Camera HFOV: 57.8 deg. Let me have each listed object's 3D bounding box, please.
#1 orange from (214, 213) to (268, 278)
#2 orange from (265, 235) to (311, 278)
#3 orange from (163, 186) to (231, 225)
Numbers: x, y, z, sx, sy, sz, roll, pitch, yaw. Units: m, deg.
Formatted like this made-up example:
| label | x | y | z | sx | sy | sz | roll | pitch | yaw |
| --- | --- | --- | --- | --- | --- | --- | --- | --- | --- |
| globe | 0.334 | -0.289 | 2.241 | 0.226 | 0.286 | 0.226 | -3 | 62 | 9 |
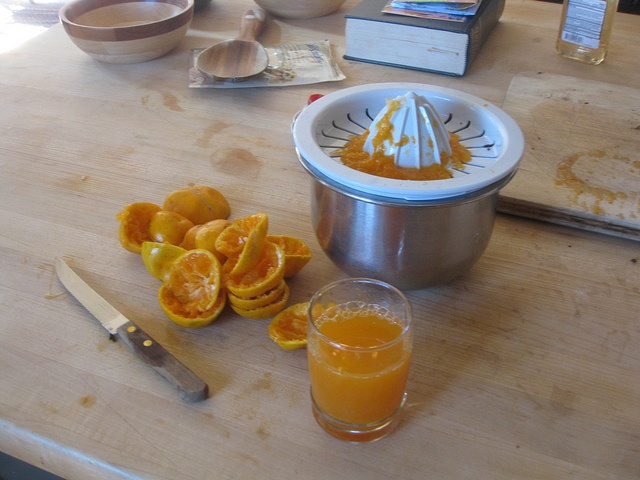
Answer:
| label | x | y | z | sx | sy | sz | roll | pitch | yaw |
| --- | --- | --- | --- | --- | --- | --- | --- | --- | --- |
| orange | -0.114 | 0.011 | 0.836 | 0.074 | 0.108 | 0.039 | -43 | 102 | -8 |
| orange | -0.053 | 0.018 | 0.884 | 0.098 | 0.042 | 0.069 | -3 | 32 | -6 |
| orange | -0.202 | -0.064 | 0.960 | 0.111 | 0.053 | 0.076 | -4 | 43 | 1 |
